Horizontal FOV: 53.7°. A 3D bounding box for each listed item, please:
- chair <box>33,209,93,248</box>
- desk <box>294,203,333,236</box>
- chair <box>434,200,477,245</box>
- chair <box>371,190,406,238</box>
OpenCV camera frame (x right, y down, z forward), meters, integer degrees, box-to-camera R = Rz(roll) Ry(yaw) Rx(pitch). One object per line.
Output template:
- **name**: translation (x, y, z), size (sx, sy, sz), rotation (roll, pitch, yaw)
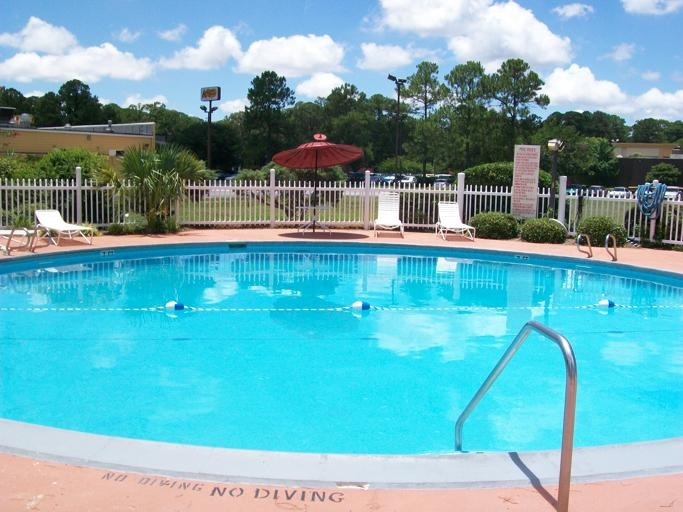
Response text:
- **chair**: translation (-7.237, -0.651, 17.068), size (0.907, 0.806, 1.895), rotation (-5, 13, -40)
- **desk**: translation (-0.903, -1.140, 21.712), size (1.152, 1.107, 1.199), rotation (0, 2, -5)
- **chair**: translation (3.310, -1.017, 19.559), size (1.087, 0.975, 2.098), rotation (2, 10, 8)
- **chair**: translation (1.407, -1.276, 20.377), size (0.808, 1.292, 2.530), rotation (1, 10, 4)
